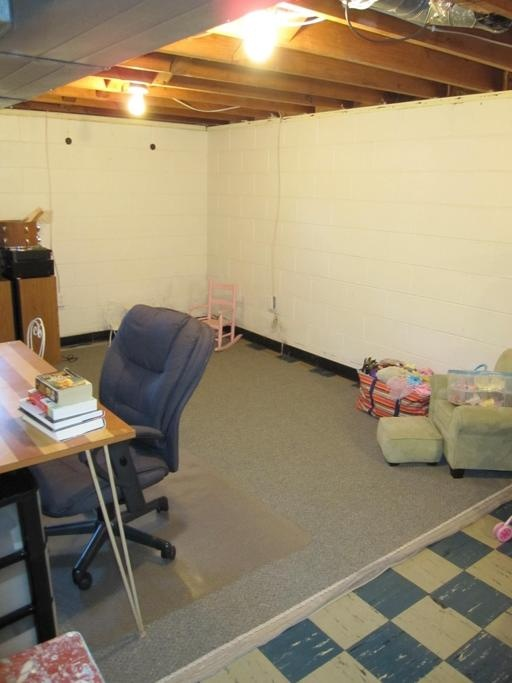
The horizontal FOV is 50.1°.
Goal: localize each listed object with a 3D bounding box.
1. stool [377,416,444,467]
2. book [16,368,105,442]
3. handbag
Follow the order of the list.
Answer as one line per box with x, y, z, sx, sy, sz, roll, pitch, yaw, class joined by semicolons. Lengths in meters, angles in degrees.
0.975;0.607;3.464;0.321;0.156;0.332;-1;15;-11;stool
-0.600;0.148;1.697;0.204;0.128;0.264;-12;26;-38;book
1.084;0.362;4.087;0.384;0.336;0.502;-1;6;-34;handbag
